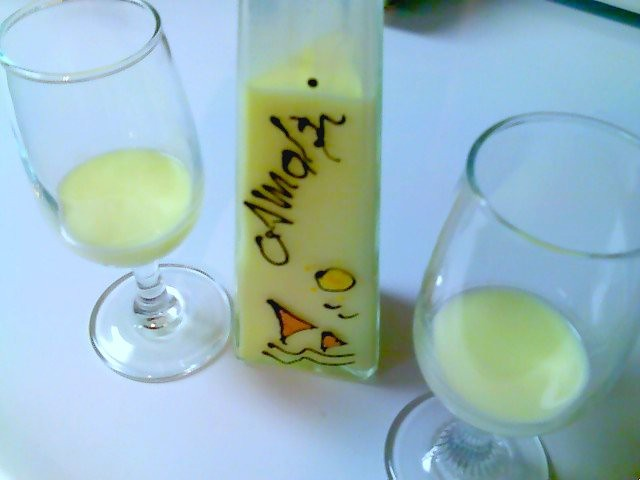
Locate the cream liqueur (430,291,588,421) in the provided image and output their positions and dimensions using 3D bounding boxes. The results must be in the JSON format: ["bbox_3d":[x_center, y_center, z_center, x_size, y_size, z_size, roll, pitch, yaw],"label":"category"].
[{"bbox_3d":[0.175,0.104,0.575,0.133,0.094,0.080,-10,35,-1],"label":"cream liqueur"}]
